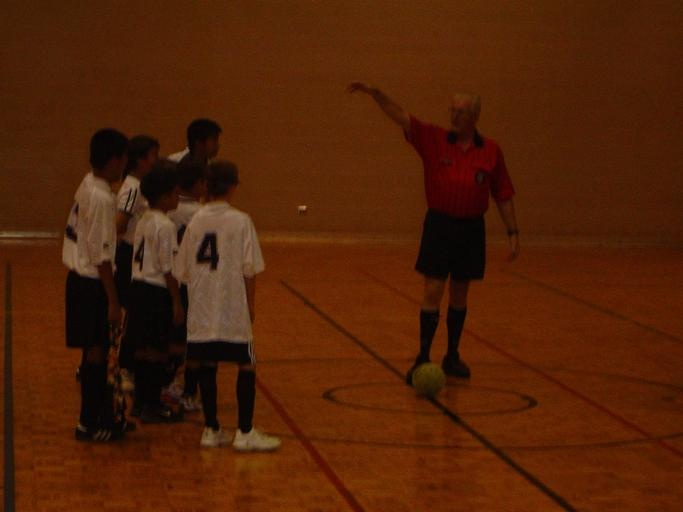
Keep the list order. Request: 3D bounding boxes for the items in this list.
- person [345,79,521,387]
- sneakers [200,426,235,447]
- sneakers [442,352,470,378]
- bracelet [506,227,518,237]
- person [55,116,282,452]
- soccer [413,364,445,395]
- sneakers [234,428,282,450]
[{"bbox_3d":[0.748,-0.125,5.207,1.030,1.932,0.358,-1,4,-22],"label":"person"},{"bbox_3d":[-0.675,0.966,4.053,0.083,0.086,0.169,4,5,39],"label":"sneakers"},{"bbox_3d":[0.822,0.769,5.379,0.088,0.206,0.276,1,-2,-27],"label":"sneakers"},{"bbox_3d":[1.202,-0.168,5.309,0.057,0.052,0.064,-1,-3,-12],"label":"bracelet"},{"bbox_3d":[-1.229,0.134,4.249,0.621,1.668,0.700,-1,4,-20],"label":"person"},{"bbox_3d":[0.560,0.791,4.898,0.203,0.206,0.164,1,4,6],"label":"soccer"},{"bbox_3d":[-0.455,0.950,4.043,0.237,0.127,0.108,0,0,-9],"label":"sneakers"}]
